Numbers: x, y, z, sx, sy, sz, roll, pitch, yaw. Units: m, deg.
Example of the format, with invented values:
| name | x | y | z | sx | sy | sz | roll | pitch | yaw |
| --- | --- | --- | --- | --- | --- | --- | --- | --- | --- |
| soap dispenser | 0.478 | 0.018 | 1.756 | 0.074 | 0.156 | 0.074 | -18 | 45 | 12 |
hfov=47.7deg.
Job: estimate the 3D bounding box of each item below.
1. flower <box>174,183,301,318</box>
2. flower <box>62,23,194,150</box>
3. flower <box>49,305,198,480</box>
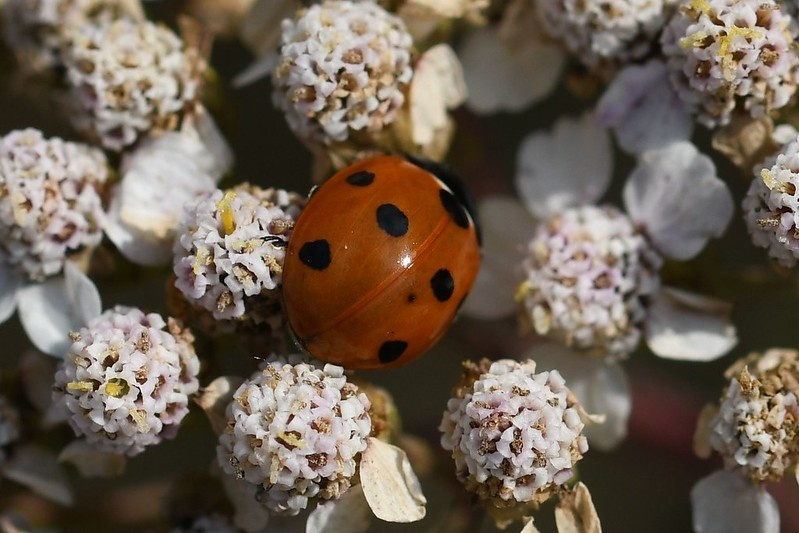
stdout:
| name | x | y | z | sx | sy | sz | roll | pitch | yaw |
| --- | --- | --- | --- | --- | --- | --- | --- | --- | --- |
| flower | -0.281 | -0.037 | 1.668 | 0.214 | 0.109 | 0.236 | 10 | 81 | 20 |
| flower | -0.534 | -0.372 | 1.777 | 0.262 | 0.093 | 0.239 | -21 | 84 | -3 |
| flower | -0.501 | 0.209 | 1.665 | 0.245 | 0.156 | 0.275 | 34 | 84 | 3 |
